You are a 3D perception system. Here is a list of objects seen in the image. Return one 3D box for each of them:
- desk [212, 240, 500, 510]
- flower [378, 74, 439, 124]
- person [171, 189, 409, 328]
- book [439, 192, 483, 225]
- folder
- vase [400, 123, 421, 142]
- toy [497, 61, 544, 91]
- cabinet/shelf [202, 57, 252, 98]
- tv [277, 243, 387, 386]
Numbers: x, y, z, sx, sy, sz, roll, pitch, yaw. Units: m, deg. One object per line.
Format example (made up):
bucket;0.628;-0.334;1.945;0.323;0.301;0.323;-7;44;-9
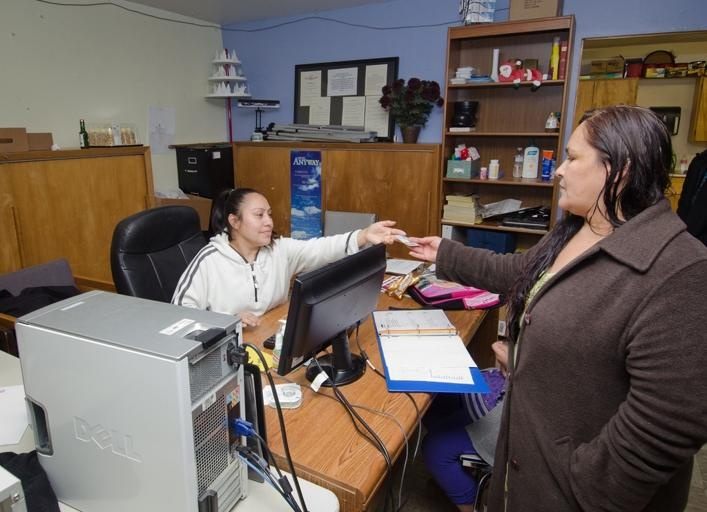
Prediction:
desk;0.144;0.487;1.849;0.669;0.309;1.018;-2;28;-1
flower;0.503;-1.386;4.115;0.446;0.364;0.488;-6;13;-24
person;-0.283;-0.005;2.365;0.311;0.754;0.749;7;25;35
book;0.935;-0.414;3.977;0.263;0.199;0.270;2;9;23
folder;0.278;0.387;1.894;0.376;0.105;0.709;3;16;0
vase;0.532;-1.117;4.231;0.177;0.140;0.181;1;9;7
toy;1.344;-1.468;3.731;0.348;0.263;0.391;4;15;16
cabinet/shelf;-1.354;-1.989;5.117;0.518;0.411;0.527;-8;16;-8
tv;-0.038;0.223;1.738;0.167;0.466;0.577;15;21;28
